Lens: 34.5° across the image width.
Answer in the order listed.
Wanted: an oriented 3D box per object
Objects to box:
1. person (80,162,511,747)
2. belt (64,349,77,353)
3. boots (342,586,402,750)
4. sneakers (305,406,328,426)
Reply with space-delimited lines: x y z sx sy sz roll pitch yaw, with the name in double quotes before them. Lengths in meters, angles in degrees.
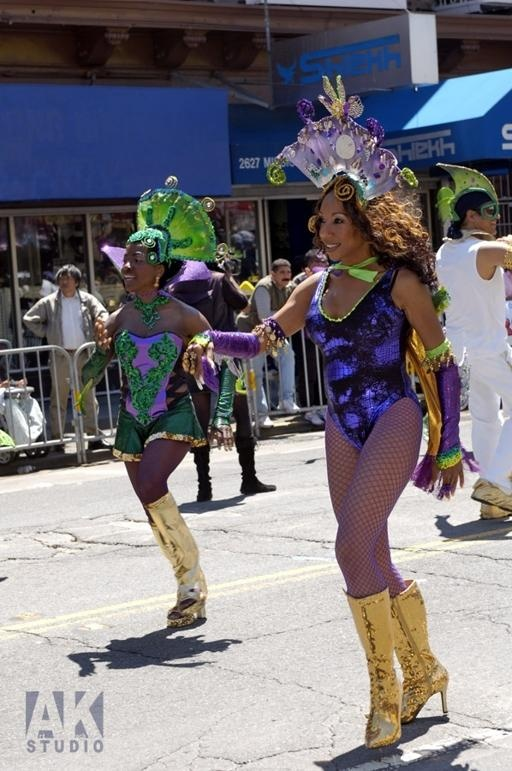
"person" 0.268 0.213 3.084 0.652 1.555 1.534 -7 2 -19
"belt" -2.400 -0.443 10.519 0.081 0.031 0.096 1 -7 -19
"boots" 0.343 0.804 2.341 0.119 0.384 0.069 -6 2 4
"sneakers" 0.920 0.463 11.744 0.229 0.216 0.575 -2 -1 -22
